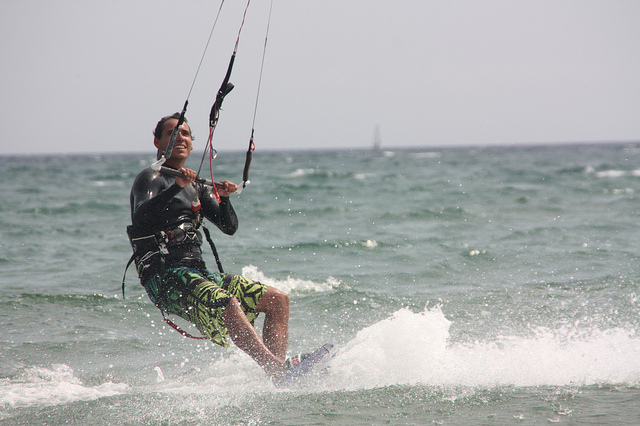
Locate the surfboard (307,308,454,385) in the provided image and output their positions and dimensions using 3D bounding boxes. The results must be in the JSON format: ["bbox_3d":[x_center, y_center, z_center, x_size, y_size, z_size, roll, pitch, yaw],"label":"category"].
[{"bbox_3d":[1.302,2.550,20.760,2.001,0.557,1.521,-19,36,-40],"label":"surfboard"}]
